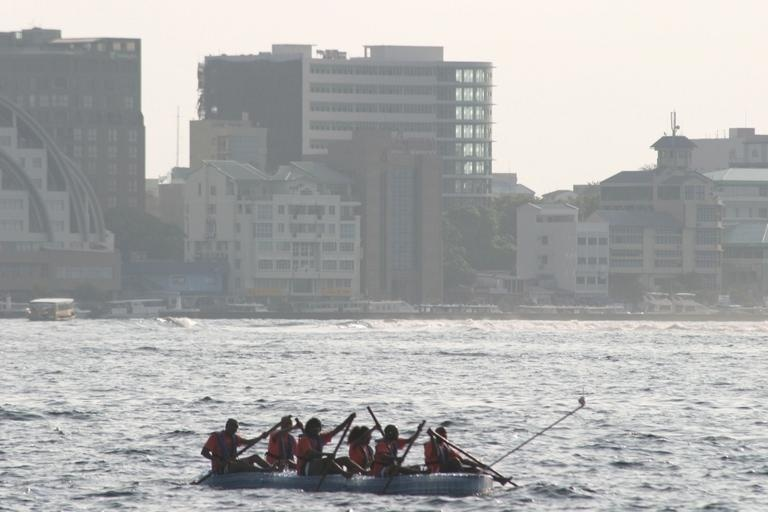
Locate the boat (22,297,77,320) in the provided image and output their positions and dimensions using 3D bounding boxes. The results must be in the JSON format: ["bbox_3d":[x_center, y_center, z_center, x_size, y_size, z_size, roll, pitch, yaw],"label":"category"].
[{"bbox_3d":[-39.521,6.837,284.584,4.023,2.791,10.611,-2,-4,17],"label":"boat"}]
